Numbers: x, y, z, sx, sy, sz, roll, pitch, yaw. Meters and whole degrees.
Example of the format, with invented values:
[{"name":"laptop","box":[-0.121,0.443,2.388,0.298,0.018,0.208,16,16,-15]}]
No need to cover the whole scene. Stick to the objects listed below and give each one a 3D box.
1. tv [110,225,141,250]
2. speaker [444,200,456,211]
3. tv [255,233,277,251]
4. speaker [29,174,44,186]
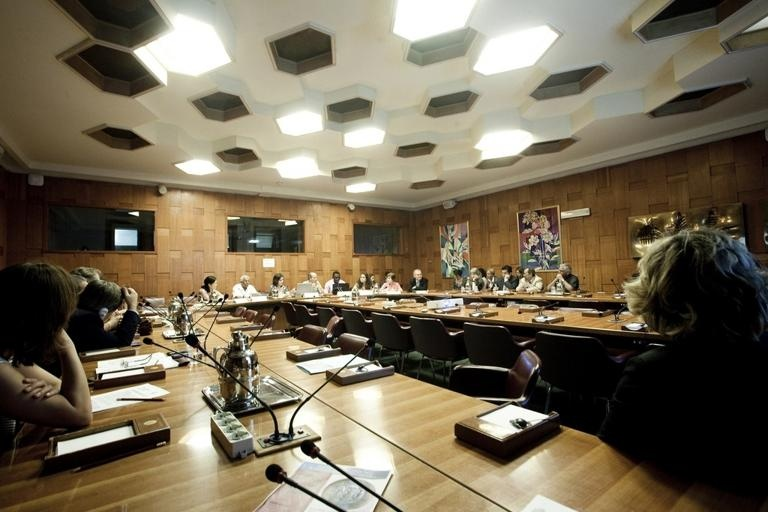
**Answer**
[{"name":"tv","box":[-4.973,-0.339,8.579,0.472,0.615,0.065,2,-14,-35]},{"name":"speaker","box":[1.673,-1.279,11.376,0.189,0.189,0.271,7,1,-45]},{"name":"tv","box":[-2.718,-0.316,10.224,0.324,0.296,0.045,28,-28,-30]},{"name":"speaker","box":[-6.002,-1.299,7.738,0.211,0.156,0.206,-3,-1,-40]}]
